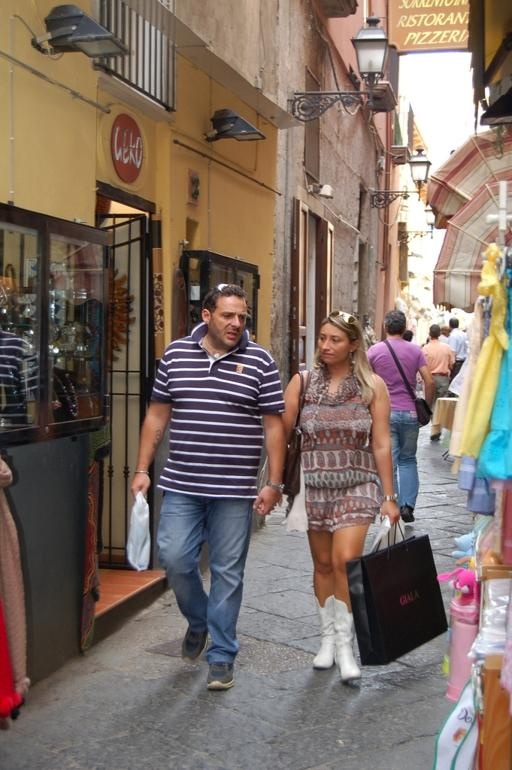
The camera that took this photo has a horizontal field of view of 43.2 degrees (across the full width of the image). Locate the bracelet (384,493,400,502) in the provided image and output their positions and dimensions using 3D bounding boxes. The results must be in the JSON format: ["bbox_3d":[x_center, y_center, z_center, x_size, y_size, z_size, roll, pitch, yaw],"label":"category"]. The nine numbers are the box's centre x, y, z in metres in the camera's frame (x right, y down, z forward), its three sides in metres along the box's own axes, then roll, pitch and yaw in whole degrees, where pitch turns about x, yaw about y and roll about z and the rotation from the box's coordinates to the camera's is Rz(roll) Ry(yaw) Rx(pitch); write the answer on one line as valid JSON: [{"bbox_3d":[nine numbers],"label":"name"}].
[{"bbox_3d":[0.632,0.515,3.022,0.048,0.034,0.050,2,-3,-39],"label":"bracelet"}]

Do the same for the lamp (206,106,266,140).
[{"bbox_3d":[-0.184,-2.281,5.779,0.483,0.251,0.332,-2,1,7],"label":"lamp"}]

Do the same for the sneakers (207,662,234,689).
[{"bbox_3d":[-0.153,1.243,2.803,0.056,0.077,0.168,2,5,6],"label":"sneakers"}]

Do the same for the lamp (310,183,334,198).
[{"bbox_3d":[1.088,-3.329,10.851,0.422,0.207,0.345,1,0,6],"label":"lamp"}]

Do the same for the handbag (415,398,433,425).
[{"bbox_3d":[1.660,0.235,6.392,0.172,0.409,0.355,-2,2,13],"label":"handbag"}]

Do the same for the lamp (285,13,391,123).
[{"bbox_3d":[1.164,-4.349,8.806,1.228,1.560,0.562,-2,48,2],"label":"lamp"}]

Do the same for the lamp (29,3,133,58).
[{"bbox_3d":[-0.782,-1.549,2.865,0.301,0.161,0.266,0,5,1],"label":"lamp"}]

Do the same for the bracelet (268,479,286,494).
[{"bbox_3d":[0.093,0.465,2.931,0.072,0.040,0.059,7,5,-15],"label":"bracelet"}]

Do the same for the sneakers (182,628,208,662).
[{"bbox_3d":[-0.296,1.223,3.105,0.069,0.086,0.205,3,15,7],"label":"sneakers"}]

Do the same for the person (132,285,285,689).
[{"bbox_3d":[-0.215,0.440,2.930,0.681,1.751,0.426,0,-6,4],"label":"person"}]

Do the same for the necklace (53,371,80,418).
[{"bbox_3d":[-0.874,0.045,2.995,0.078,0.085,0.172,2,10,0],"label":"necklace"}]
